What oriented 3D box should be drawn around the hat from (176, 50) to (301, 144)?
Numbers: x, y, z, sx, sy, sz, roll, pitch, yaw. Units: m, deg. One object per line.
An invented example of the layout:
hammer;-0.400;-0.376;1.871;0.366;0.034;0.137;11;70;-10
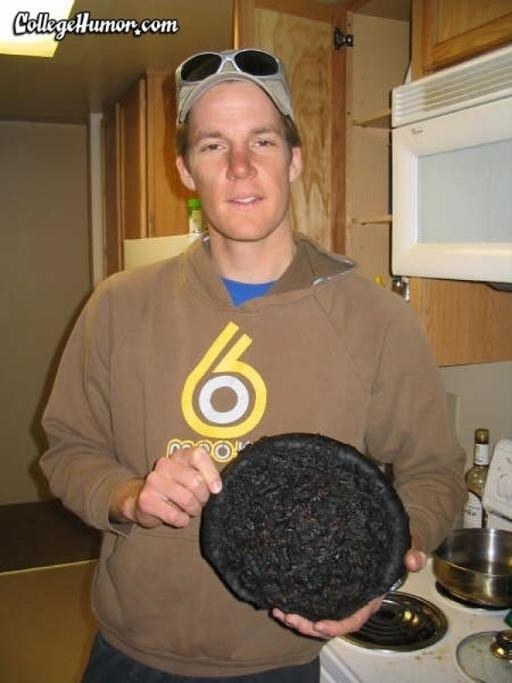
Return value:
hat;-0.043;-0.480;1.048;0.164;0.217;0.079;-20;-32;-11
